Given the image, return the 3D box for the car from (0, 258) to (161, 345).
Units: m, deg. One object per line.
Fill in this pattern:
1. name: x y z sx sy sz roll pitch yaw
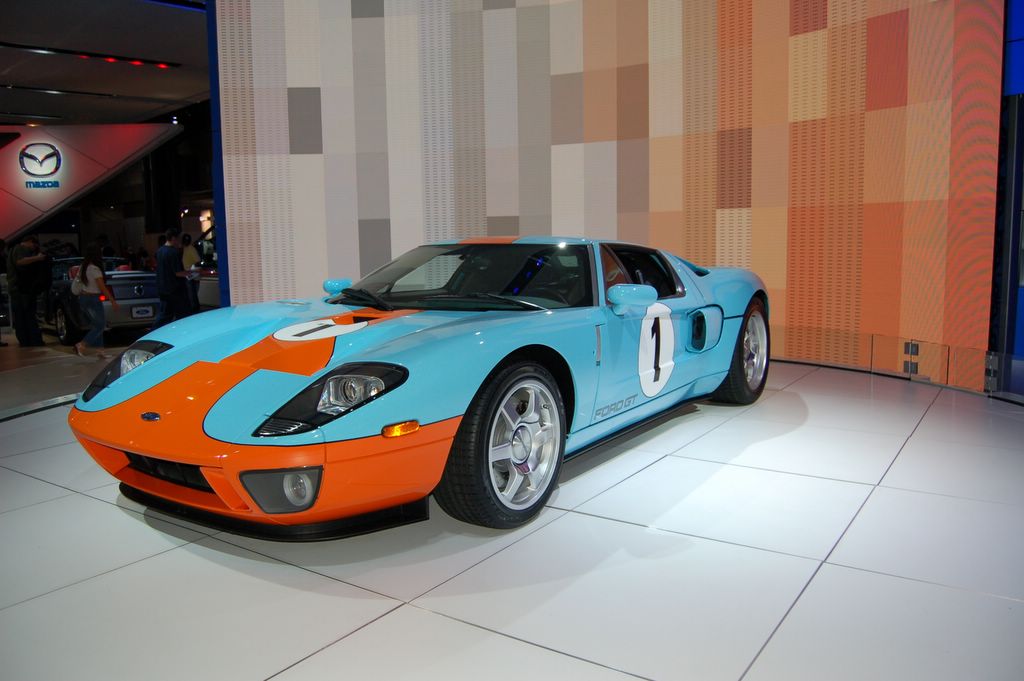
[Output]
1. car: -7.030 -0.588 10.293 3.167 1.069 1.500 11 13 37

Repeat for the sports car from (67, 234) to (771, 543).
1. sports car: -0.027 0.276 3.882 1.914 1.001 3.773 3 6 38
